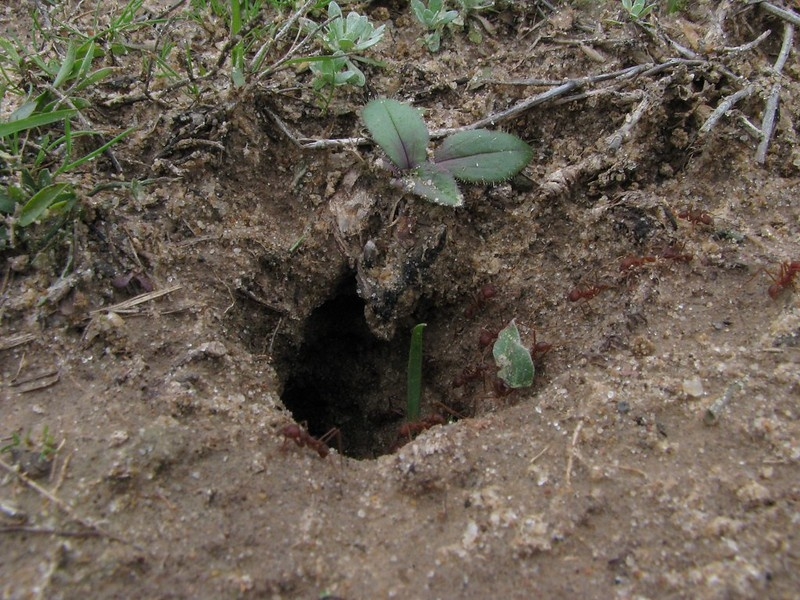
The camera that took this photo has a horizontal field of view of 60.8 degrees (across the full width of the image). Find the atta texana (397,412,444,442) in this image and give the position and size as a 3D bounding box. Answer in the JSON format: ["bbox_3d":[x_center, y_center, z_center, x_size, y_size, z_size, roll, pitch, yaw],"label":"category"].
[{"bbox_3d":[0.114,0.670,3.550,0.184,0.091,0.146,-33,29,11],"label":"atta texana"}]

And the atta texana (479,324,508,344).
[{"bbox_3d":[0.500,0.183,3.760,0.110,0.047,0.085,-26,69,-15],"label":"atta texana"}]

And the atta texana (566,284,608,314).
[{"bbox_3d":[0.946,-0.033,3.428,0.132,0.096,0.178,42,73,18],"label":"atta texana"}]

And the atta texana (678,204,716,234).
[{"bbox_3d":[1.442,-0.392,3.299,0.167,0.055,0.108,5,66,3],"label":"atta texana"}]

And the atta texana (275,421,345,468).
[{"bbox_3d":[-0.428,0.681,3.200,0.272,0.132,0.199,17,23,-22],"label":"atta texana"}]

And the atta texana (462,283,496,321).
[{"bbox_3d":[0.435,0.003,3.745,0.117,0.195,0.058,48,50,8],"label":"atta texana"}]

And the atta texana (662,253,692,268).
[{"bbox_3d":[1.331,-0.190,3.246,0.101,0.043,0.067,-1,96,0],"label":"atta texana"}]
